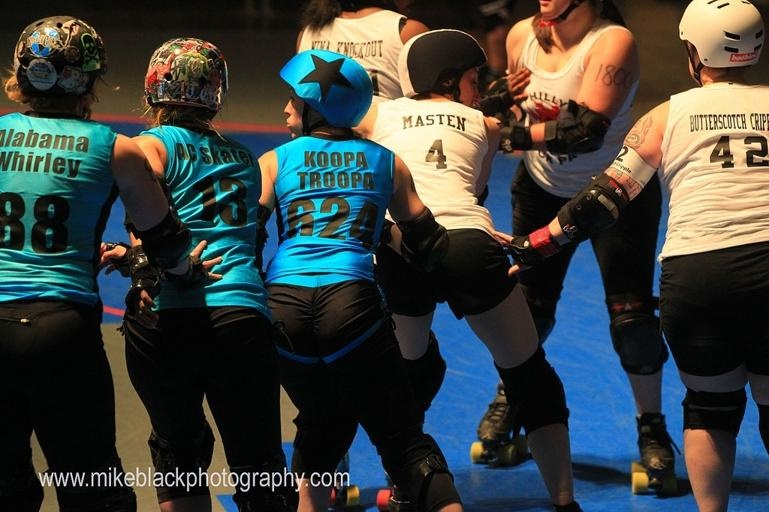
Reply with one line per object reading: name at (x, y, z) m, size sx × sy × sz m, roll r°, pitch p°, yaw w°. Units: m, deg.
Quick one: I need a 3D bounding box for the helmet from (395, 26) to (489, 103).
helmet at (0.326, -1.134, 6.509) m, size 0.495 × 0.352 × 0.342 m, roll 1°, pitch 7°, yaw -5°

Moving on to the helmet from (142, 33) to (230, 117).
helmet at (-1.030, -0.933, 5.805) m, size 0.336 × 0.316 × 0.430 m, roll 5°, pitch 13°, yaw -3°

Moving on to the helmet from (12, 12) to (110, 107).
helmet at (-1.631, -0.992, 5.656) m, size 0.385 × 0.337 × 0.443 m, roll 2°, pitch 27°, yaw 4°

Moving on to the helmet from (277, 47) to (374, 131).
helmet at (-0.271, -0.913, 6.084) m, size 0.502 × 0.378 × 0.361 m, roll 27°, pitch 27°, yaw -5°
